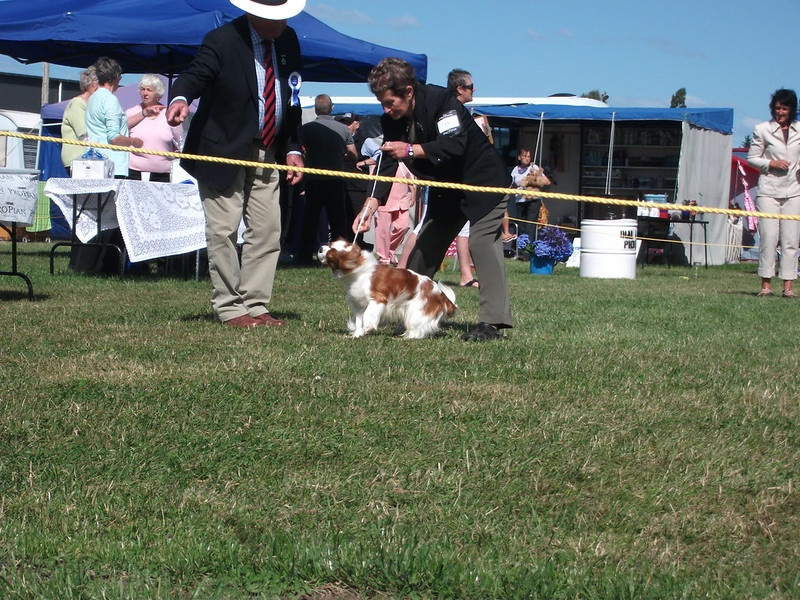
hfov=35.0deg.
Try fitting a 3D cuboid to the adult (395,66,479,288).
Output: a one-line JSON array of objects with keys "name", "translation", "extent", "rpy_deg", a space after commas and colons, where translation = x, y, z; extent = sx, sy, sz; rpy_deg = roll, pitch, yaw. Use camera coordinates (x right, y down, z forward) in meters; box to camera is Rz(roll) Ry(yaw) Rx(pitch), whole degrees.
[{"name": "adult", "translation": [0.322, -1.459, 13.084], "extent": [0.932, 2.436, 0.607], "rpy_deg": [2, -19, -11]}]

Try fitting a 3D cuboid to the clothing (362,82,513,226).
[{"name": "clothing", "translation": [0.257, -1.093, 8.941], "extent": [1.114, 1.042, 0.917], "rpy_deg": [-7, 20, -6]}]

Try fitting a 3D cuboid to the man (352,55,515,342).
[{"name": "man", "translation": [0.277, -0.835, 9.026], "extent": [1.110, 1.998, 0.963], "rpy_deg": [8, 22, 26]}]

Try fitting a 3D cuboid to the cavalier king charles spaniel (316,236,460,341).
[{"name": "cavalier king charles spaniel", "translation": [-0.073, -0.109, 9.129], "extent": [1.074, 0.694, 0.405], "rpy_deg": [3, -3, -12]}]

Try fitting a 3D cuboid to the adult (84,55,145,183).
[{"name": "adult", "translation": [-2.751, -1.894, 12.217], "extent": [0.523, 1.194, 1.053], "rpy_deg": [1, 6, -14]}]

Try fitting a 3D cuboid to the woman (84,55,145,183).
[{"name": "woman", "translation": [-2.750, -1.893, 12.212], "extent": [0.523, 1.194, 1.063], "rpy_deg": [1, 6, -14]}]

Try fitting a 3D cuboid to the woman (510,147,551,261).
[{"name": "woman", "translation": [1.934, -1.693, 19.802], "extent": [0.647, 1.547, 0.520], "rpy_deg": [3, 27, 10]}]

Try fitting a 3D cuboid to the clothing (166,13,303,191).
[{"name": "clothing", "translation": [-1.191, -1.511, 9.122], "extent": [1.092, 1.298, 0.331], "rpy_deg": [-2, 7, -36]}]

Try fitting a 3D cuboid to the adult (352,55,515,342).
[{"name": "adult", "translation": [0.260, -0.816, 9.013], "extent": [1.100, 2.008, 0.931], "rpy_deg": [7, 20, 24]}]

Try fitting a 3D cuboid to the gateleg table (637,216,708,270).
[{"name": "gateleg table", "translation": [4.190, -1.047, 19.874], "extent": [0.931, 0.745, 0.978], "rpy_deg": [0, 10, -7]}]

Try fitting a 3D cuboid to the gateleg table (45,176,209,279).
[{"name": "gateleg table", "translation": [-2.591, -0.907, 11.863], "extent": [0.967, 0.631, 1.278], "rpy_deg": [6, 7, 30]}]

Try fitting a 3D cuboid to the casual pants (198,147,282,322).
[{"name": "casual pants", "translation": [-1.158, -0.620, 9.291], "extent": [0.612, 1.451, 0.425], "rpy_deg": [-8, 9, -31]}]
